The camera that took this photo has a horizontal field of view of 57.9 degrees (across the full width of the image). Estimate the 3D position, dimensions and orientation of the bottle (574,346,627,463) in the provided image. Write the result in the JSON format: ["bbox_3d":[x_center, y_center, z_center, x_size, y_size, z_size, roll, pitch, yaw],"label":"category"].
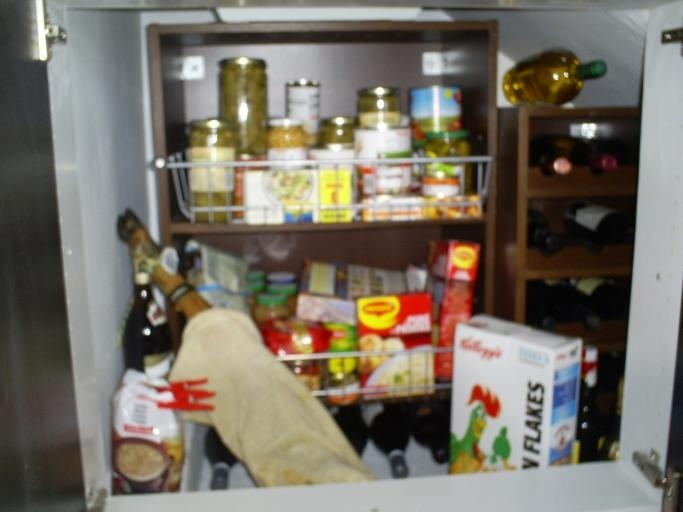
[{"bbox_3d":[0.462,0.263,1.096,0.044,0.169,0.184,8,-1,-2],"label":"bottle"}]

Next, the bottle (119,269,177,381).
[{"bbox_3d":[-0.347,0.126,1.091,0.090,0.191,0.056,-10,14,-33],"label":"bottle"}]

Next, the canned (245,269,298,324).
[{"bbox_3d":[-0.130,0.079,1.168,0.092,0.086,0.093,7,12,26],"label":"canned"}]

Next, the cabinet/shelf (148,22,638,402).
[{"bbox_3d":[0.077,-0.083,1.146,0.687,0.629,0.228,-3,19,-5],"label":"cabinet/shelf"}]
